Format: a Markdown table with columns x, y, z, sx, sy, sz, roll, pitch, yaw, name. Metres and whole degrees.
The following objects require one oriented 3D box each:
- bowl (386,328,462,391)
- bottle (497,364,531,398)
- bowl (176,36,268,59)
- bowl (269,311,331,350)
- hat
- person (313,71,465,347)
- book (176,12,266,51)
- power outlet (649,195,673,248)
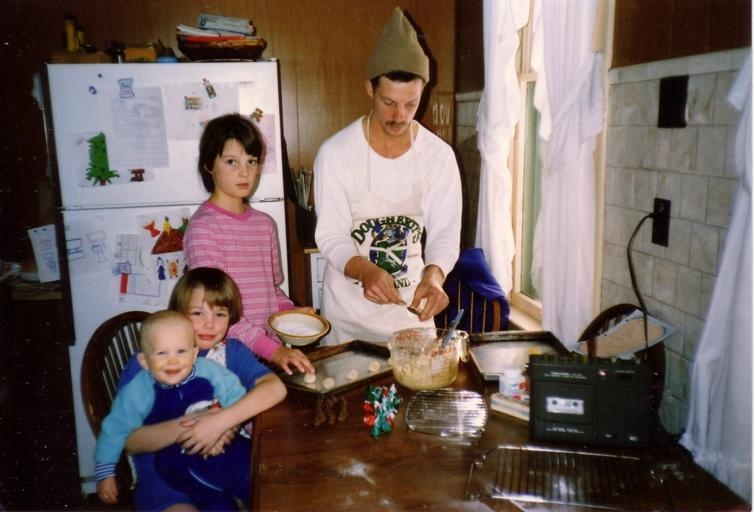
| x | y | z | sx | sy | sz | roll | pitch | yaw | name |
| --- | --- | --- | --- | --- | --- | --- | --- | --- | --- |
| 0.214 | 0.392 | 2.276 | 0.292 | 0.195 | 0.231 | -2 | 12 | -7 | bowl |
| 0.491 | 0.445 | 2.171 | 0.102 | 0.125 | 0.089 | 1 | 4 | 43 | bottle |
| -0.937 | -1.255 | 3.596 | 0.427 | 0.158 | 0.118 | -6 | 43 | -9 | bowl |
| -0.324 | 0.308 | 2.457 | 0.240 | 0.088 | 0.249 | 7 | 14 | -2 | bowl |
| 0.062 | -0.948 | 2.680 | 0.271 | 0.317 | 0.321 | -4 | 17 | -7 | hat |
| 0.072 | -0.176 | 2.710 | 0.711 | 1.231 | 0.586 | -4 | 10 | -7 | person |
| -0.961 | -1.356 | 3.606 | 0.345 | 0.114 | 0.290 | 3 | 39 | -3 | book |
| 1.211 | -0.145 | 2.546 | 0.015 | 0.205 | 0.090 | -7 | 11 | -21 | power outlet |
